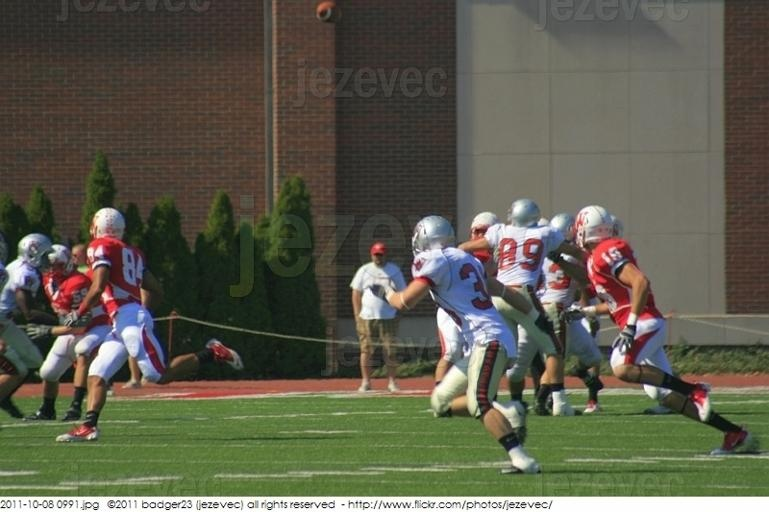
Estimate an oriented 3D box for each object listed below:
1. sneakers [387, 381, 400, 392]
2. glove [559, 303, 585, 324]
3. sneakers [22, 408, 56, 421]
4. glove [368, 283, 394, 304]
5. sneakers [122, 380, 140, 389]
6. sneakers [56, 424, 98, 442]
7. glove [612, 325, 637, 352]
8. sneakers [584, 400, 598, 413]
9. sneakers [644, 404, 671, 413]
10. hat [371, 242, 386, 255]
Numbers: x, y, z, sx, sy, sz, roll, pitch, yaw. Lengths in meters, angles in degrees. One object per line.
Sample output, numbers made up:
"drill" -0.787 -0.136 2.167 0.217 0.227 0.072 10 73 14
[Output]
"sneakers" 0.165 2.335 29.676 0.138 0.213 0.211 -4 -11 18
"glove" 2.879 0.892 25.642 0.291 0.159 0.348 -4 -1 -31
"sneakers" -5.600 2.544 26.714 0.542 0.209 0.182 3 -6 -1
"glove" -0.095 0.491 24.228 0.536 0.210 0.153 17 -22 35
"sneakers" -4.672 2.318 30.159 0.364 0.141 0.132 2 0 7
"sneakers" -4.641 2.669 25.134 0.693 0.290 0.245 1 -4 -4
"glove" 3.622 1.239 24.905 0.256 0.433 0.126 26 -2 13
"sneakers" 3.392 2.462 27.169 0.131 0.139 0.305 -2 -9 13
"sneakers" 4.458 2.513 27.093 0.393 0.139 0.208 4 -8 -17
"hat" -0.114 -0.157 29.447 0.278 0.208 0.442 6 3 4
